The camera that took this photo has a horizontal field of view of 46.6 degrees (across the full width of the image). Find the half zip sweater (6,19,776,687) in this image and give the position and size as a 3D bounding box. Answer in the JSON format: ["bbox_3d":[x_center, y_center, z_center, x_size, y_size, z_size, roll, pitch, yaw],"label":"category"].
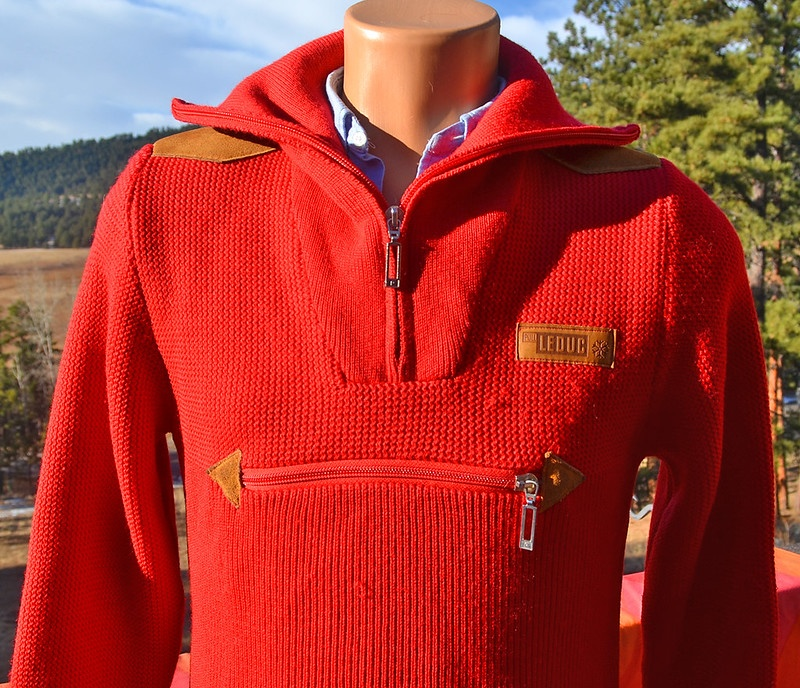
[{"bbox_3d":[-0.005,0.014,1.200,0.937,0.876,0.356,-4,-14,4],"label":"half zip sweater"}]
